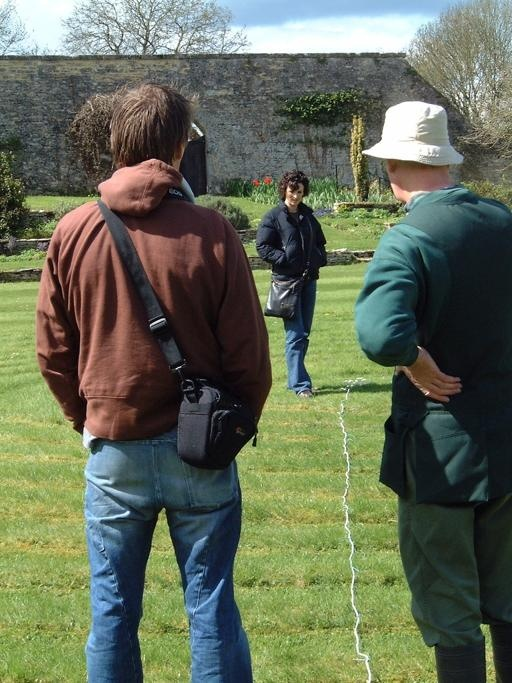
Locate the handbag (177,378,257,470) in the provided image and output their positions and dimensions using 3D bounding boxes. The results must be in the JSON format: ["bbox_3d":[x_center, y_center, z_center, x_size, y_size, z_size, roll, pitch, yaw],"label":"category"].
[{"bbox_3d":[-0.184,0.266,4.109,0.346,0.243,0.313,1,4,-27],"label":"handbag"}]

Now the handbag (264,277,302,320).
[{"bbox_3d":[0.158,-0.282,8.373,0.290,0.277,0.159,11,9,29],"label":"handbag"}]

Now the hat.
[{"bbox_3d":[0.538,-0.711,4.458,0.305,0.134,0.279,2,4,-5],"label":"hat"}]

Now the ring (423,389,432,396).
[{"bbox_3d":[0.565,0.177,4.207,0.017,0.018,0.017,-21,48,25],"label":"ring"}]
